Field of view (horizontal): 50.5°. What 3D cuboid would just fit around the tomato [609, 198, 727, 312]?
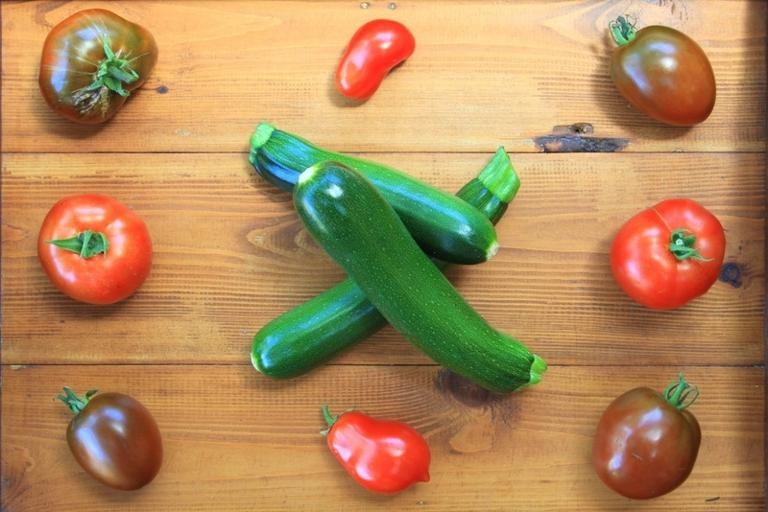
[{"bbox_3d":[0.706,0.013,2.075,0.269,0.196,0.245,10,-11,10],"label":"tomato"}]

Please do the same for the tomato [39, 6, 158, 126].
[{"bbox_3d":[-0.735,-0.488,2.121,0.277,0.279,0.119,32,3,-16],"label":"tomato"}]

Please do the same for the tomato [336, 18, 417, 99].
[{"bbox_3d":[-0.024,-0.491,2.124,0.149,0.228,0.107,48,6,9],"label":"tomato"}]

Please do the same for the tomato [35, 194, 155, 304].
[{"bbox_3d":[-0.718,-0.014,1.997,0.263,0.252,0.140,24,14,9],"label":"tomato"}]

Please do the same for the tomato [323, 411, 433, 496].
[{"bbox_3d":[-0.016,0.483,2.069,0.269,0.152,0.096,37,-7,7],"label":"tomato"}]
